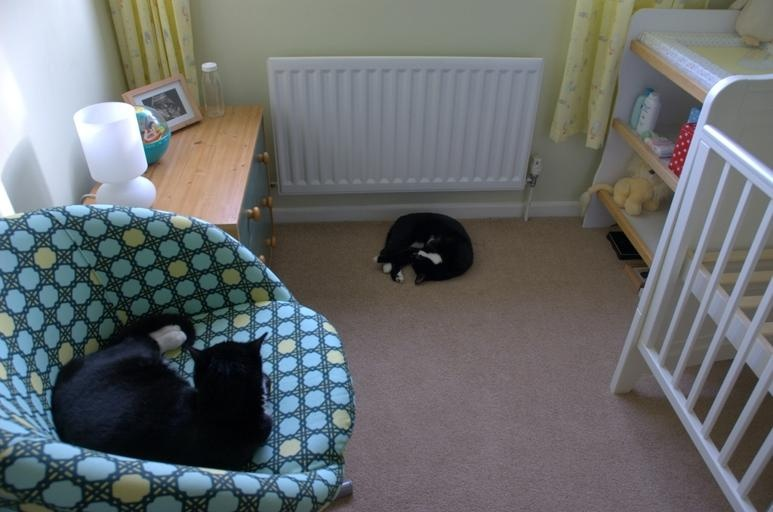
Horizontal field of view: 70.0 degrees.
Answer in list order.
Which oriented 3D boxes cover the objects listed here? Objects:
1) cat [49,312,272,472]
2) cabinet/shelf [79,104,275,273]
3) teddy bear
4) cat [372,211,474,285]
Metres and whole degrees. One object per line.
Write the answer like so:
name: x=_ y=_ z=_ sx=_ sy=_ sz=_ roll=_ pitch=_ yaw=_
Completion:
cat: x=-0.658 y=0.436 z=1.652 sx=0.627 sy=0.208 sz=0.375 roll=3 pitch=42 yaw=3
cabinet/shelf: x=-0.847 y=-0.063 z=2.619 sx=0.583 sy=0.671 sz=1.052 roll=-2 pitch=43 yaw=-4
teddy bear: x=1.258 y=-0.393 z=2.916 sx=0.371 sy=0.284 sz=0.282 roll=6 pitch=23 yaw=45
cat: x=0.196 y=-0.049 z=2.924 sx=0.500 sy=0.157 sz=0.396 roll=-1 pitch=42 yaw=-1
